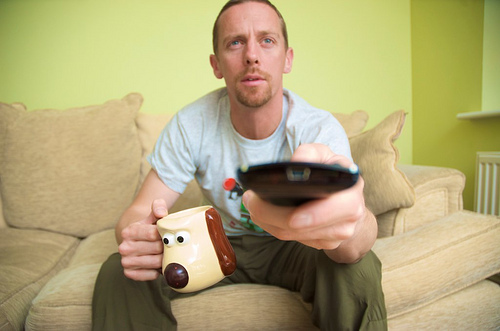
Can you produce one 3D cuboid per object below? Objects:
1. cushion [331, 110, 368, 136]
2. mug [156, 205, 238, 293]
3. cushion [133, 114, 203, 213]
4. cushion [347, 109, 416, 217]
[{"bbox_3d":[0.650,-0.275,2.775,0.172,0.179,0.073,-23,-31,0],"label":"cushion"},{"bbox_3d":[-0.248,0.356,2.005,0.313,0.382,0.350,-12,17,-11],"label":"mug"},{"bbox_3d":[-0.558,-0.027,2.853,0.551,0.591,0.208,-1,-7,-39],"label":"cushion"},{"bbox_3d":[0.681,-0.016,2.257,0.307,0.520,0.209,0,11,13],"label":"cushion"}]
